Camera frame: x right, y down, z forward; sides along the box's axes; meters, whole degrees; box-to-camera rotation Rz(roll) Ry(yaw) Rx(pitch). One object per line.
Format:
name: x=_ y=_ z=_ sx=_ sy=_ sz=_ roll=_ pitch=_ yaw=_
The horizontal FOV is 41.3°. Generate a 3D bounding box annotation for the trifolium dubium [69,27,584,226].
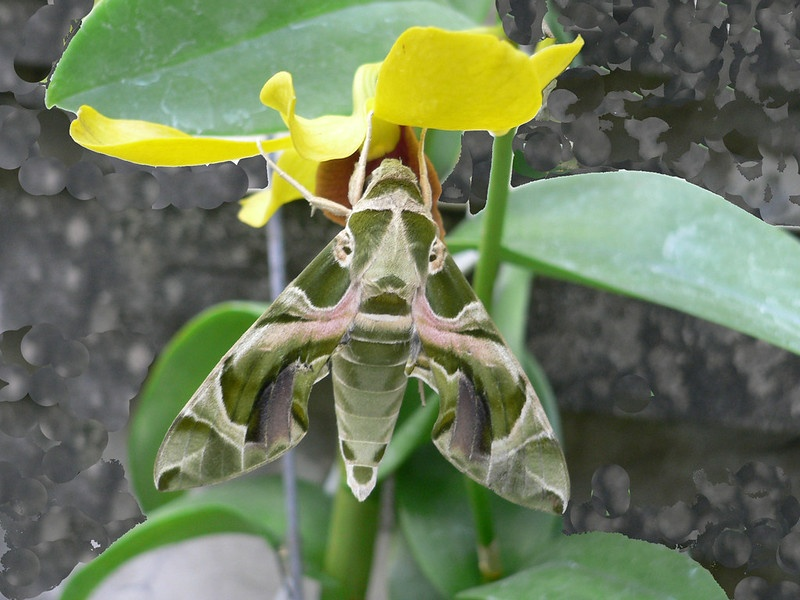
trifolium dubium: x=0.001 y=-0.070 z=0.496 sx=0.160 sy=0.091 sz=0.075 roll=-5 pitch=85 yaw=38

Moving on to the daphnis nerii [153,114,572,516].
daphnis nerii: x=-0.001 y=0.046 z=0.509 sx=0.183 sy=0.064 sz=0.193 roll=37 pitch=92 yaw=6
